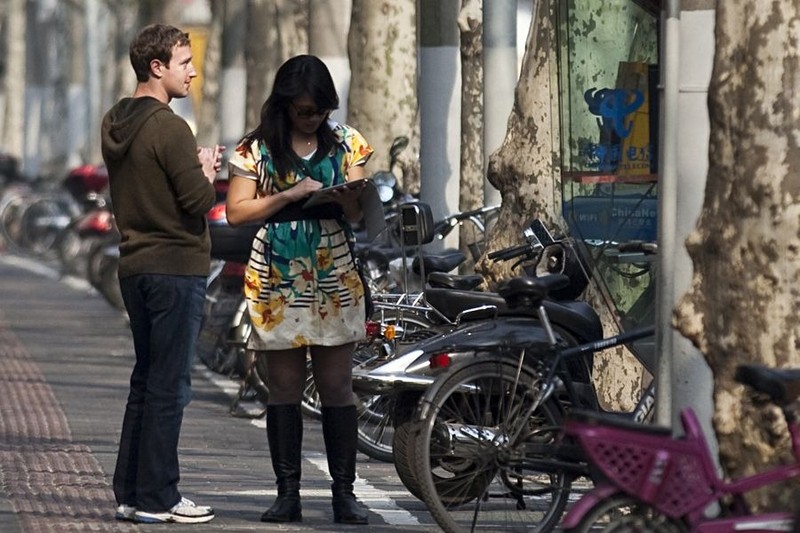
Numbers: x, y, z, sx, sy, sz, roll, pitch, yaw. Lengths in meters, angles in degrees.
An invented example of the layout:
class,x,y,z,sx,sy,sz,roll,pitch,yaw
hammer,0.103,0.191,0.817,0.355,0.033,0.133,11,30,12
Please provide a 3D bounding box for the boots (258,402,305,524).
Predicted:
class,x,y,z,sx,sy,sz,roll,pitch,yaw
boots,-0.739,1.199,8.880,0.346,0.712,0.210,5,-12,-44

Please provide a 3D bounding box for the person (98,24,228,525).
class,x,y,z,sx,sy,sz,roll,pitch,yaw
person,-1.409,0.102,8.878,0.898,2.789,1.127,3,-11,-33

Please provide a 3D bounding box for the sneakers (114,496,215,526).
class,x,y,z,sx,sy,sz,roll,pitch,yaw
sneakers,-1.405,1.502,8.878,0.562,0.269,0.212,0,-2,-12

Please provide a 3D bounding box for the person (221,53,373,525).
class,x,y,z,sx,sy,sz,roll,pitch,yaw
person,-0.632,0.136,9.098,0.879,2.777,0.932,0,0,-12
